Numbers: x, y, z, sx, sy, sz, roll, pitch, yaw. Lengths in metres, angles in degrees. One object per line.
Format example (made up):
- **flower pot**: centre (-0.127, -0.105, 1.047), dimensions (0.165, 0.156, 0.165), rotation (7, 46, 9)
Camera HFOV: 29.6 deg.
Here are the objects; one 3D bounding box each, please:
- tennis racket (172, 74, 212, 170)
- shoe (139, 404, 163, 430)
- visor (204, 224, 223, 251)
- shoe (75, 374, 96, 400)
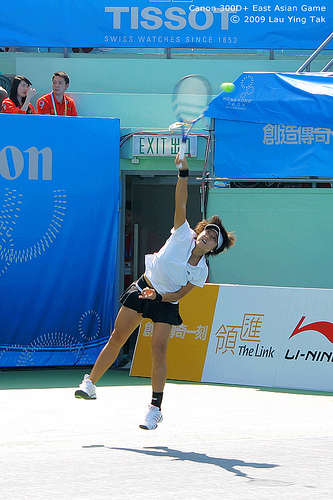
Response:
- **tennis racket**: centre (0.326, -1.841, 9.183), dimensions (0.571, 1.999, 0.087), rotation (6, 54, 2)
- **shoe**: centre (-0.087, 1.097, 4.145), dimensions (0.081, 0.102, 0.231), rotation (10, -1, 14)
- **visor**: centre (0.344, -0.100, 4.499), dimensions (0.091, 0.173, 0.138), rotation (-26, 13, -21)
- **shoe**: centre (-0.561, 0.961, 4.367), dimensions (0.132, 0.180, 0.216), rotation (1, -3, -5)
